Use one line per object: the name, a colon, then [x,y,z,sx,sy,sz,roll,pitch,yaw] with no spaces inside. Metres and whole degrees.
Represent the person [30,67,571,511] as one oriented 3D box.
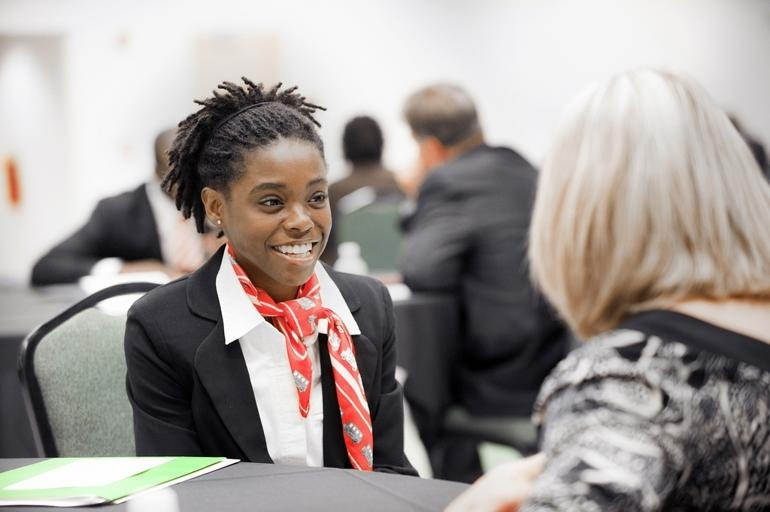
person: [-0.134,0.127,2.700,0.988,1.575,0.932,-4,-14,-27]
